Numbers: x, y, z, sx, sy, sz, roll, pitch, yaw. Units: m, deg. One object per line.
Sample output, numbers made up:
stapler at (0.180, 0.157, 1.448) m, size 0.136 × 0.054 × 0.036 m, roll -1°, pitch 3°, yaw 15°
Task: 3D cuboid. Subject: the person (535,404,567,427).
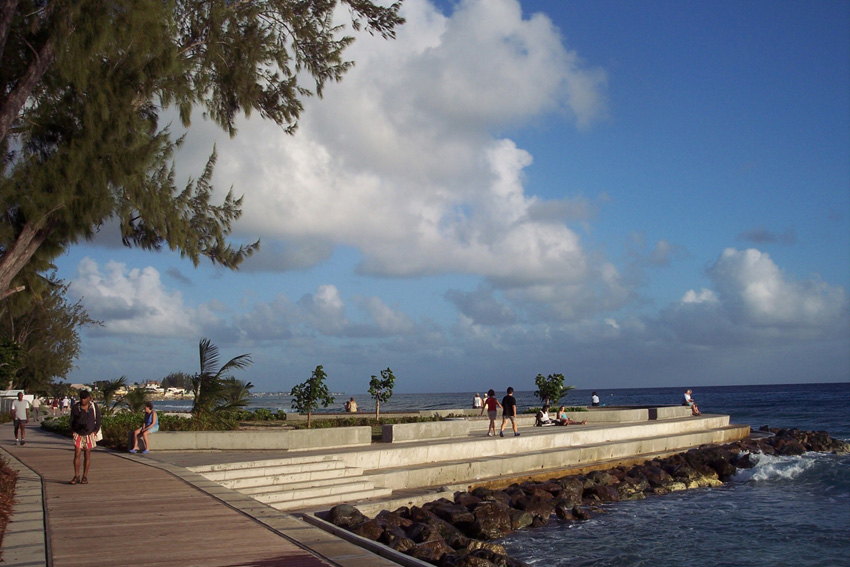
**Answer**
person at (7.279, 7.460, 41.149) m, size 2.082 × 1.137 × 1.114 m, roll -3°, pitch -4°, yaw 9°
